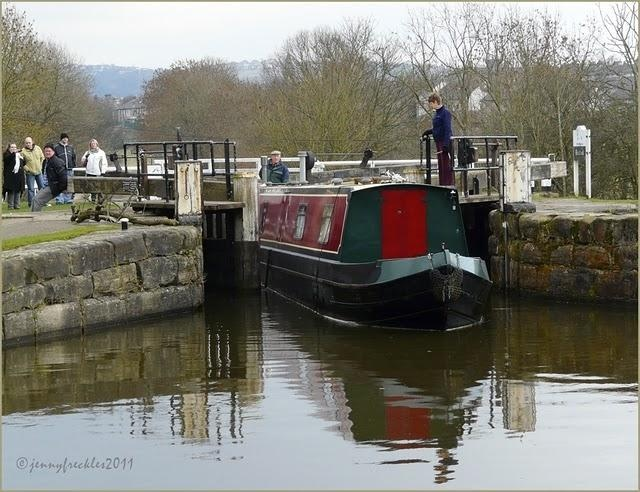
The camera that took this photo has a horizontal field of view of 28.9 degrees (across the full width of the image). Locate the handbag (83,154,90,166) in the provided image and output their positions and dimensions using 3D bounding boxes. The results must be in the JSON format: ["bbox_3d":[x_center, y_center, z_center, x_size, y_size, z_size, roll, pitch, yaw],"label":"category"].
[{"bbox_3d":[-6.216,-2.275,32.658,0.124,0.353,0.194,7,-10,-4],"label":"handbag"}]

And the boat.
[{"bbox_3d":[0.395,0.104,26.369,2.298,2.869,7.374,-4,3,-35],"label":"boat"}]

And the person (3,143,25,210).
[{"bbox_3d":[-8.088,-1.833,32.560,0.578,1.741,1.007,-3,3,-14],"label":"person"}]

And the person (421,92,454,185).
[{"bbox_3d":[2.498,-2.265,26.335,0.576,1.985,1.265,-2,3,6],"label":"person"}]
